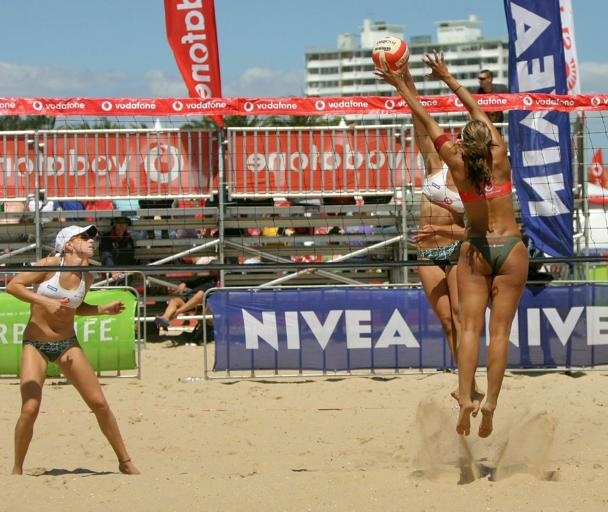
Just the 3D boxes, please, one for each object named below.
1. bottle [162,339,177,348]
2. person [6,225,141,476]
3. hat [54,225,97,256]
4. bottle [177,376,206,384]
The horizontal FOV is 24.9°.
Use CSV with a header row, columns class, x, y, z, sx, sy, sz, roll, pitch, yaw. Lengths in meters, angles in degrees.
class,x,y,z,sx,sy,sz,roll,pitch,yaw
bottle,-1.665,1.096,16.981,0.153,0.052,0.493,-3,13,-5
person,-2.145,0.876,12.401,1.065,2.101,1.169,-4,13,-8
hat,-2.122,-0.181,12.684,0.351,0.183,0.235,-30,2,0
bottle,-1.234,1.355,15.033,0.291,0.023,0.246,-3,13,-6
